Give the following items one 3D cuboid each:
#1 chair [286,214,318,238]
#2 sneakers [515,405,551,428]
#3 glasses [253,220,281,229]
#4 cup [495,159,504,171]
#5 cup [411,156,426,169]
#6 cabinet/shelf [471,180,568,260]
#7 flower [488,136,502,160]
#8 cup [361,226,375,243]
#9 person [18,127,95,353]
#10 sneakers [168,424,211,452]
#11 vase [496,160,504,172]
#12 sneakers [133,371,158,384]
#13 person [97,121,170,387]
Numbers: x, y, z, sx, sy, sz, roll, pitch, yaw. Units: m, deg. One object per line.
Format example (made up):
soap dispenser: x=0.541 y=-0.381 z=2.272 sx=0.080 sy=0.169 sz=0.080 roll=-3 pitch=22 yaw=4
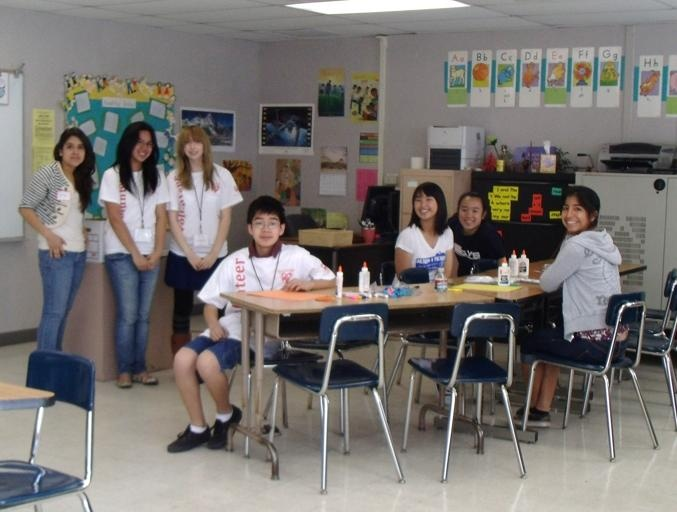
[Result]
chair: x=-0.465 y=-0.400 z=7.315 sx=0.292 sy=0.271 sz=0.405 roll=-1 pitch=2 yaw=45
sneakers: x=1.410 y=1.163 z=4.177 sx=0.228 sy=0.136 sz=0.419 roll=2 pitch=-1 yaw=18
glasses: x=-0.463 y=-0.202 z=3.741 sx=0.157 sy=0.043 sz=0.037 roll=-1 pitch=6 yaw=-17
cup: x=1.933 y=-1.075 z=6.901 sx=0.133 sy=0.139 sz=0.129 roll=2 pitch=2 yaw=0
cup: x=1.018 y=-1.171 z=7.310 sx=0.155 sy=0.153 sz=0.156 roll=0 pitch=5 yaw=0
cabinet/shelf: x=1.987 y=-0.379 z=6.207 sx=0.871 sy=0.882 sz=0.467 roll=3 pitch=4 yaw=34
flower: x=1.928 y=-1.332 z=7.130 sx=0.149 sy=0.279 sz=0.103 roll=2 pitch=6 yaw=14
cup: x=0.365 y=-0.240 z=6.970 sx=0.164 sy=0.183 sz=0.168 roll=0 pitch=3 yaw=0
person: x=-2.288 y=-0.118 z=4.733 sx=0.552 sy=1.823 sz=0.250 roll=-2 pitch=6 yaw=-29
sneakers: x=-0.971 y=1.199 z=3.802 sx=0.322 sy=0.136 sz=0.117 roll=-7 pitch=8 yaw=-44
vase: x=1.930 y=-1.068 z=6.875 sx=0.097 sy=0.164 sz=0.285 roll=2 pitch=5 yaw=15
sneakers: x=-1.689 y=1.079 z=5.092 sx=0.241 sy=0.096 sz=0.099 roll=1 pitch=5 yaw=26
person: x=-1.754 y=0.001 z=4.976 sx=0.550 sy=2.239 sz=0.337 roll=-1 pitch=6 yaw=-22
